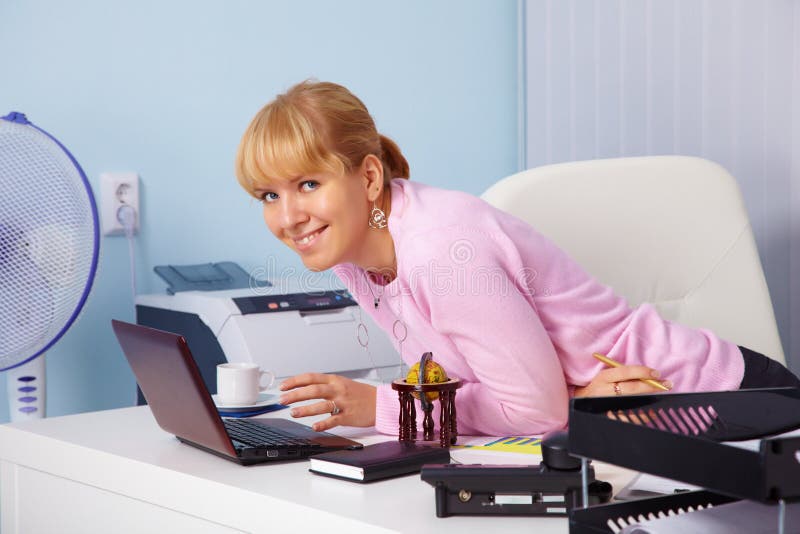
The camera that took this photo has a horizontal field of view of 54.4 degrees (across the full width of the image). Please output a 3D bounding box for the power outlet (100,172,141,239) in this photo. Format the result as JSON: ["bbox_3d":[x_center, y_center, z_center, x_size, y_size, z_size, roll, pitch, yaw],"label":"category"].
[{"bbox_3d":[-0.671,-0.151,1.877,0.100,0.152,0.070,-8,7,-17],"label":"power outlet"}]

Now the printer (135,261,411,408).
[{"bbox_3d":[-0.363,0.122,2.086,0.724,0.333,0.443,-7,11,-35],"label":"printer"}]

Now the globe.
[{"bbox_3d":[0.053,0.247,1.476,0.131,0.165,0.126,-3,5,-7],"label":"globe"}]

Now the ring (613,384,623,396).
[{"bbox_3d":[0.428,0.238,1.524,0.016,0.019,0.034,-4,7,13],"label":"ring"}]

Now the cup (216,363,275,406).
[{"bbox_3d":[-0.300,0.217,1.608,0.108,0.083,0.146,9,12,37],"label":"cup"}]

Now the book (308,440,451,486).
[{"bbox_3d":[-0.025,0.321,1.313,0.237,0.044,0.142,-3,7,22],"label":"book"}]

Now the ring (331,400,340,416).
[{"bbox_3d":[-0.128,0.272,1.511,0.019,0.024,0.014,0,-18,-34],"label":"ring"}]

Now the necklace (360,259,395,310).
[{"bbox_3d":[-0.040,0.044,1.759,0.073,0.103,0.092,-3,-19,5],"label":"necklace"}]

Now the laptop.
[{"bbox_3d":[-0.297,0.213,1.393,0.400,0.261,0.259,-8,7,-14],"label":"laptop"}]
